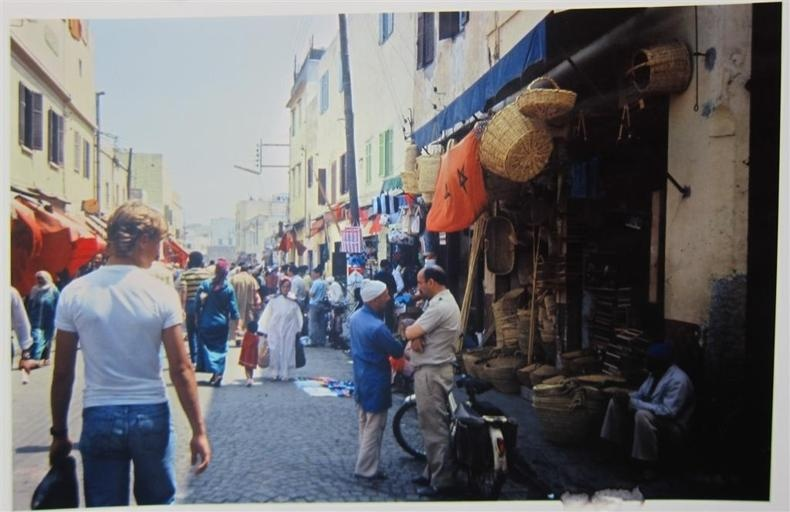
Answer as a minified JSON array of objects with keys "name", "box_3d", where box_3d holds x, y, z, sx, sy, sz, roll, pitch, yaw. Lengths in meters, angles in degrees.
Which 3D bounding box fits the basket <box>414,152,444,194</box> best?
[{"name":"basket","box_3d":[0.530,-1.330,12.068,0.615,0.762,0.508,0,2,-2]}]

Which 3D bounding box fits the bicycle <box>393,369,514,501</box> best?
[{"name":"bicycle","box_3d":[0.622,2.283,9.938,0.889,1.408,2.165,-2,9,-13]}]

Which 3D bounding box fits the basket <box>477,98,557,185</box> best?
[{"name":"basket","box_3d":[1.634,-1.479,9.891,0.901,1.079,0.478,17,24,-28]}]

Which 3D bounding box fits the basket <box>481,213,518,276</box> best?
[{"name":"basket","box_3d":[1.684,-0.158,11.855,0.584,0.866,0.171,-2,2,45]}]

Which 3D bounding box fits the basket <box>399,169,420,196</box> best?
[{"name":"basket","box_3d":[0.252,-1.263,12.716,0.343,0.375,0.295,1,4,21]}]

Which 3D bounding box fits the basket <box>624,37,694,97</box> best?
[{"name":"basket","box_3d":[3.452,-2.453,9.677,0.552,0.675,0.708,-6,6,-11]}]

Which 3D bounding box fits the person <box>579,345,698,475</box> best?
[{"name":"person","box_3d":[3.232,1.963,9.478,1.140,1.675,0.397,-3,-5,16]}]
